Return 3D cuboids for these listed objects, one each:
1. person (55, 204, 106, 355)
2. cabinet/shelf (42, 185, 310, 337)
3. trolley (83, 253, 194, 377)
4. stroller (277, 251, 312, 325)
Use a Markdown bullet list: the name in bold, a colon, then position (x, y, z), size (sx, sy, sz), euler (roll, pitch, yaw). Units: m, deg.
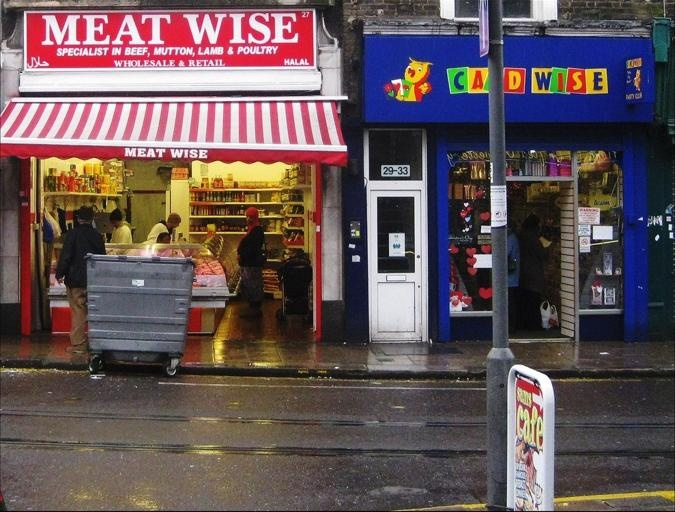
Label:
- **person**: position (-4.446, 0.412, 17.048), size (0.844, 2.484, 0.986), euler (0, 0, -6)
- **cabinet/shelf**: position (-3.564, 0.496, 20.372), size (3.812, 2.289, 3.021), euler (1, 5, -6)
- **trolley**: position (-3.232, 0.841, 16.105), size (1.411, 1.976, 1.270), euler (2, 4, -9)
- **stroller**: position (-0.900, 0.638, 21.314), size (0.973, 1.749, 1.165), euler (0, 1, -3)
